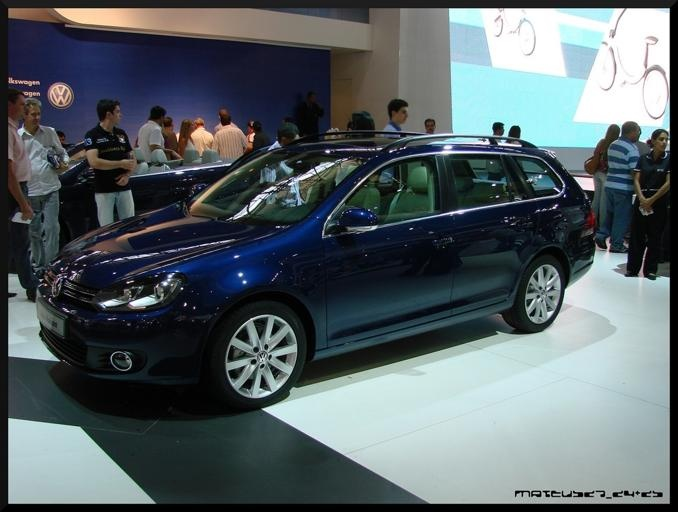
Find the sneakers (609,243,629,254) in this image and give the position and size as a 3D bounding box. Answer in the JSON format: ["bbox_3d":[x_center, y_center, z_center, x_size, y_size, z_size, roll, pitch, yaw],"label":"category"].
[{"bbox_3d":[5.126,-0.126,8.133,0.369,0.171,0.144,-3,16,-13],"label":"sneakers"}]

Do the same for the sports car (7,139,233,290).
[{"bbox_3d":[-3.040,-0.737,7.146,3.513,1.210,1.595,-8,3,-35],"label":"sports car"}]

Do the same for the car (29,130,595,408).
[{"bbox_3d":[0.128,0.102,4.129,4.551,1.653,2.156,-5,10,-28],"label":"car"}]

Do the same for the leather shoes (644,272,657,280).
[{"bbox_3d":[4.661,0.308,6.628,0.116,0.068,0.114,-9,15,-41],"label":"leather shoes"}]

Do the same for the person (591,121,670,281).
[{"bbox_3d":[4.717,-0.809,6.735,0.539,2.191,0.967,10,16,33],"label":"person"}]

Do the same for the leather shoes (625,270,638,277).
[{"bbox_3d":[4.419,0.271,6.703,0.225,0.095,0.084,-2,8,-7],"label":"leather shoes"}]

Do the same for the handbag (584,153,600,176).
[{"bbox_3d":[5.016,-1.806,8.890,0.257,0.339,0.366,19,-5,36],"label":"handbag"}]
